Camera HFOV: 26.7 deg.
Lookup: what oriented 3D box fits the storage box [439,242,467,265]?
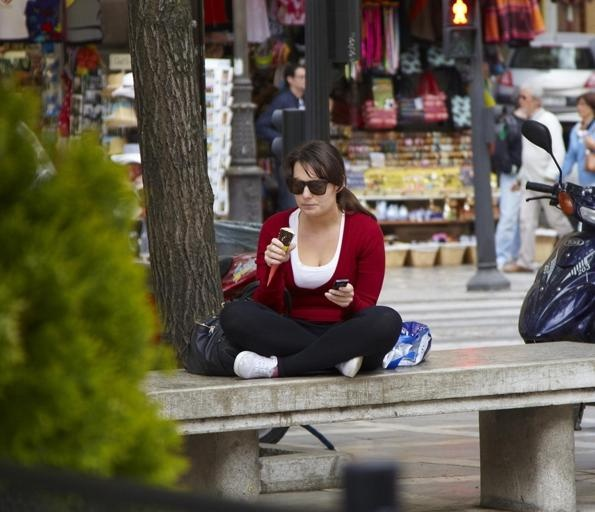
[{"bbox_3d":[1.815,-0.010,14.768,0.269,0.223,0.274,0,4,-7],"label":"storage box"}]

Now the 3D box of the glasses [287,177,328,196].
[{"bbox_3d":[0.035,-0.246,4.557,0.143,0.062,0.074,1,1,6],"label":"glasses"}]

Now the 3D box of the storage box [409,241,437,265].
[{"bbox_3d":[1.467,-0.011,14.691,0.294,0.245,0.265,0,1,-11],"label":"storage box"}]

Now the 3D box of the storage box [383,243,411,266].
[{"bbox_3d":[1.151,-0.004,14.638,0.379,0.295,0.329,-3,6,-36],"label":"storage box"}]

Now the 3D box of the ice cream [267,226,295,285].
[{"bbox_3d":[-0.059,0.000,4.451,0.062,0.217,0.030,21,20,10],"label":"ice cream"}]

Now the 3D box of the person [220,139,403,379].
[{"bbox_3d":[0.051,0.043,4.510,0.436,0.887,0.617,0,1,6],"label":"person"}]

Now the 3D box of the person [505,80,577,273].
[{"bbox_3d":[2.204,-0.685,11.632,0.437,2.225,0.498,-7,12,-27],"label":"person"}]
